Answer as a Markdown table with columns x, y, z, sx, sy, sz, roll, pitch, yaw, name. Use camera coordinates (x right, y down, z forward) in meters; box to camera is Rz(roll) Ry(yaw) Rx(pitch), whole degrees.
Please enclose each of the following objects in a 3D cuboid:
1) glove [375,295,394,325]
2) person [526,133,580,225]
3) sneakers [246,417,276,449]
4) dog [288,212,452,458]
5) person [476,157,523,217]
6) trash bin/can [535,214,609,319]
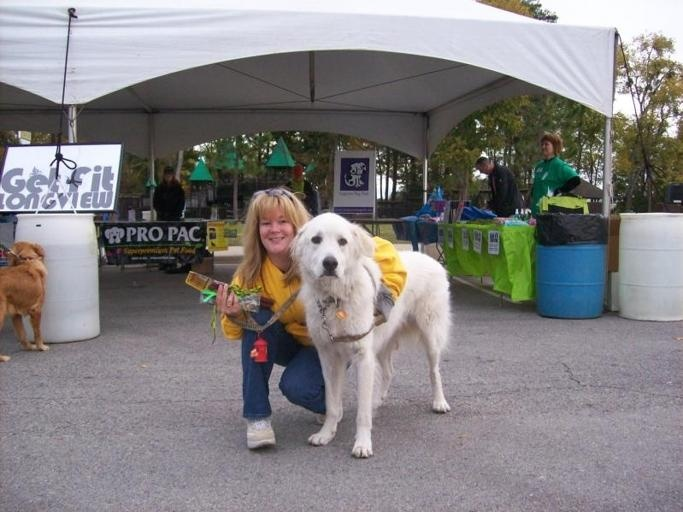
| x | y | z | sx | sy | sz | roll | pitch | yaw | name |
| --- | --- | --- | --- | --- | --- | --- | --- | --- | --- |
| 0.333 | 0.419 | 4.787 | 0.103 | 0.225 | 0.157 | 18 | -16 | -16 | glove |
| 3.425 | -1.392 | 9.524 | 0.849 | 1.092 | 0.498 | 7 | 13 | 37 | person |
| -0.651 | 1.394 | 4.725 | 0.130 | 0.157 | 0.303 | -2 | 1 | -8 | sneakers |
| 0.282 | 0.527 | 4.918 | 1.379 | 1.841 | 0.636 | -10 | 14 | -44 | dog |
| 3.154 | -1.367 | 11.757 | 0.814 | 1.110 | 0.948 | -4 | 11 | -18 | person |
| 3.230 | 0.156 | 8.707 | 1.198 | 1.827 | 1.257 | 1 | -2 | 3 | trash bin/can |
